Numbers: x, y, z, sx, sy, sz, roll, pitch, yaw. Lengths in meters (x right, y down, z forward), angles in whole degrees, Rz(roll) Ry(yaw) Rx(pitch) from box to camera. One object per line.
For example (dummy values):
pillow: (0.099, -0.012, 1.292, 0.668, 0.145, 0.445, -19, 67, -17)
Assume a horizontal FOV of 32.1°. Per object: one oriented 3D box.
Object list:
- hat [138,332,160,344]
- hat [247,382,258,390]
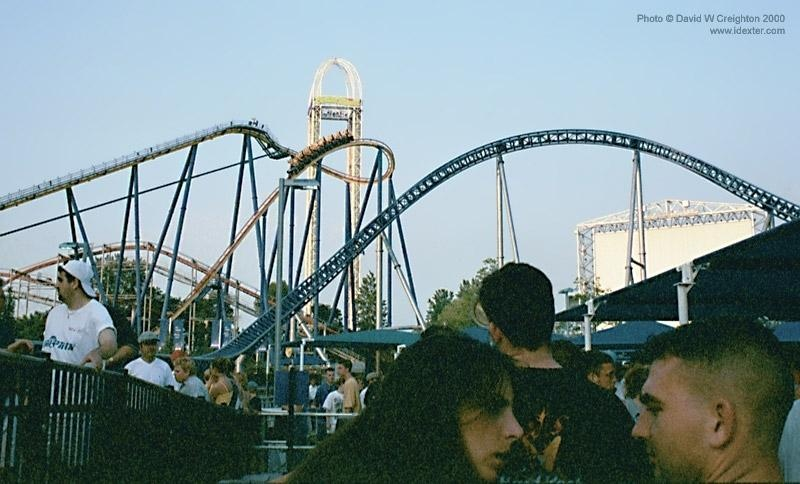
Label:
hat: (-4.113, 1.538, 22.552, 0.202, 0.145, 0.272, 4, -22, -33)
hat: (-2.758, 2.703, 25.936, 0.188, 0.107, 0.192, -7, -6, 1)
